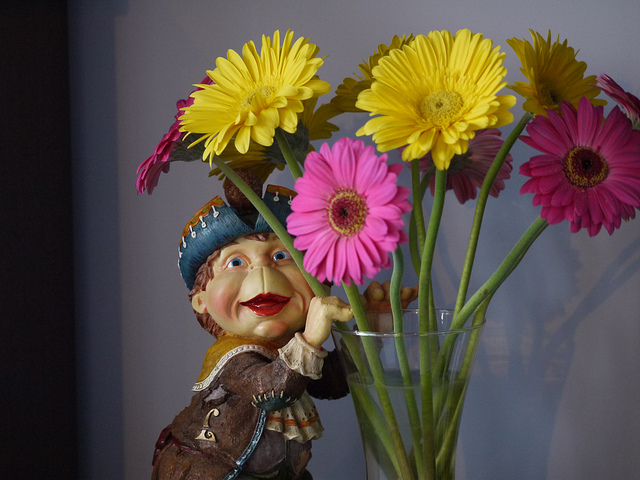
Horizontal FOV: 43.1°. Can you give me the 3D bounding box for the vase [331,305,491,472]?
[{"bbox_3d":[0.117,0.232,1.426,0.236,0.355,0.261,-2,-6,-6],"label":"vase"}]
